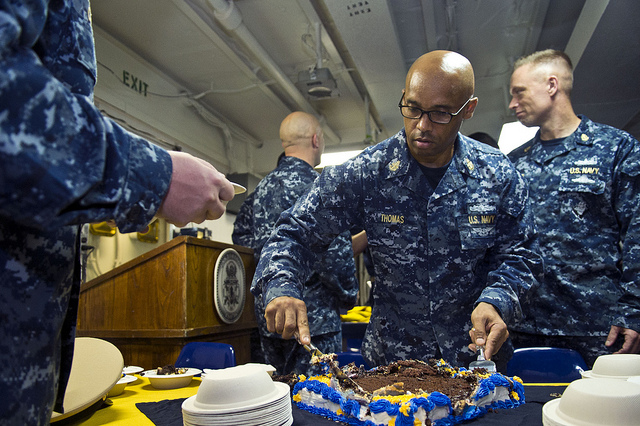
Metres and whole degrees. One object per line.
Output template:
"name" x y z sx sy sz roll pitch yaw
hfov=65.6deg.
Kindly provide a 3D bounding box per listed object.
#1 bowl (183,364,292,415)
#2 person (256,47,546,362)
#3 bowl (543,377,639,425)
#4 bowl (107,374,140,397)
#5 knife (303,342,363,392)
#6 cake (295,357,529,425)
"bowl" -0.296 0.622 1.790 0.382 0.092 0.395 -7 -31 -4
"person" 0.444 -0.043 2.556 1.356 1.595 0.700 0 -13 -8
"bowl" 0.876 0.609 1.592 0.217 0.053 0.218 -3 -2 0
"bowl" -0.890 0.780 2.241 0.138 0.035 0.135 -16 0 0
"knife" 0.045 0.628 2.050 0.029 0.107 0.329 -13 14 -20
"cake" 0.351 0.721 2.008 0.418 0.090 0.431 -5 -8 43
